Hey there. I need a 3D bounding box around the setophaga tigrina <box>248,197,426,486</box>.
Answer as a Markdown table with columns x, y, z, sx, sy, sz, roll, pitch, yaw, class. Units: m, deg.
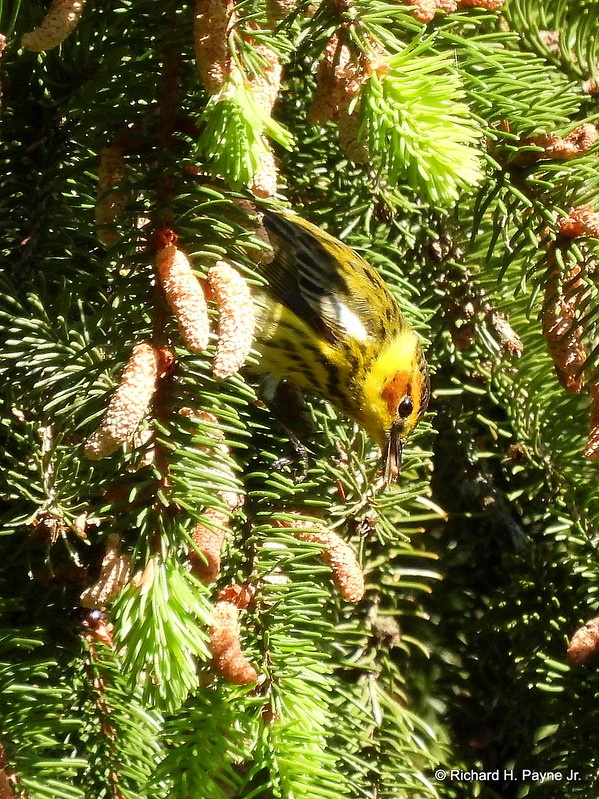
| x | y | z | sx | sy | sz | roll | pitch | yaw | class |
| --- | --- | --- | --- | --- | --- | --- | --- | --- | --- |
| 0.056 | -0.231 | 2.583 | 0.389 | 0.276 | 0.830 | -19 | 67 | 2 | setophaga tigrina |
